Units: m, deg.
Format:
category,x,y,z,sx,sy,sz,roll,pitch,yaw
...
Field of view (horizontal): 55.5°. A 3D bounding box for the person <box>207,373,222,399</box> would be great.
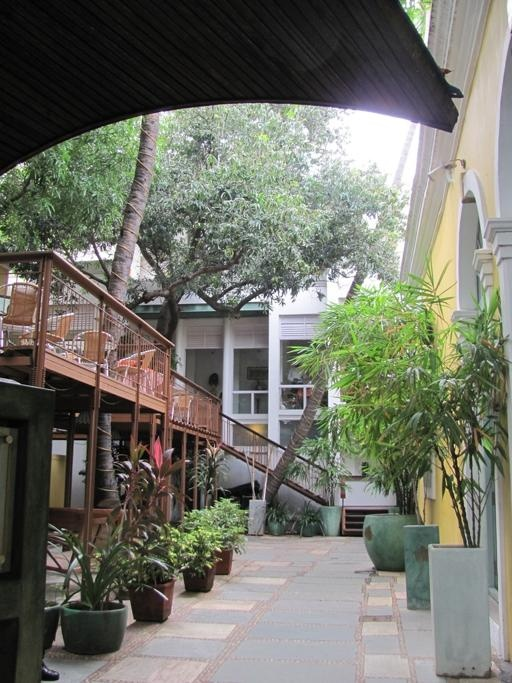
category,x,y,z,sx,sy,sz,roll,pitch,yaw
person,-1.777,1.842,20.369,0.625,0.985,0.638,3,-4,3
